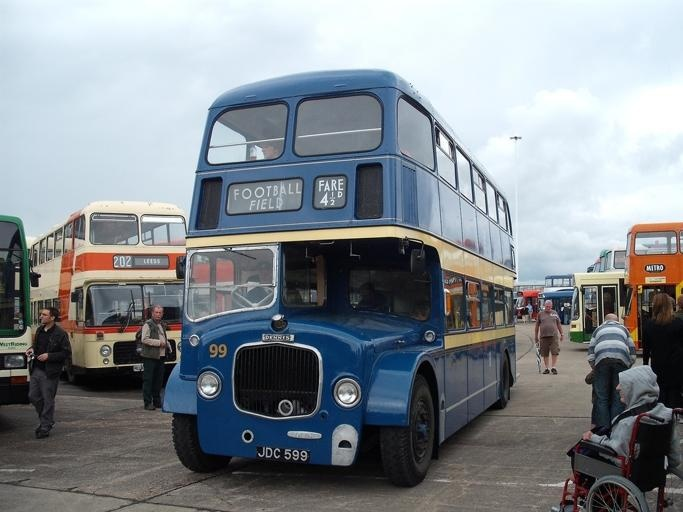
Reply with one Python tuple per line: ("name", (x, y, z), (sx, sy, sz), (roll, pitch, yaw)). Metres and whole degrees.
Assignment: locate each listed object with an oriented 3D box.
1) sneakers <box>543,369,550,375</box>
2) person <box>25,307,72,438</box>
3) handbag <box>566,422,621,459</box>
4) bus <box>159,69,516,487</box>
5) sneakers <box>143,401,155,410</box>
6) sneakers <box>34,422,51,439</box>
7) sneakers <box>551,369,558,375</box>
("sneakers", (6.694, 3.811, 19.421), (0.114, 0.171, 0.367), (-4, -8, 24))
("person", (-5.327, 2.093, 10.758), (0.575, 2.271, 0.833), (3, -6, -39))
("handbag", (2.363, 1.742, 5.602), (0.315, 0.325, 0.305), (1, -7, 32))
("bus", (1.193, 0.620, 11.562), (3.093, 5.628, 9.771), (-3, -6, 24))
("sneakers", (-4.331, 3.399, 13.298), (0.099, 0.222, 0.287), (6, -12, -44))
("sneakers", (-5.260, 3.096, 10.361), (0.139, 0.224, 0.450), (3, -12, -3))
("sneakers", (6.850, 3.775, 19.166), (0.157, 0.123, 0.267), (2, -4, 13))
